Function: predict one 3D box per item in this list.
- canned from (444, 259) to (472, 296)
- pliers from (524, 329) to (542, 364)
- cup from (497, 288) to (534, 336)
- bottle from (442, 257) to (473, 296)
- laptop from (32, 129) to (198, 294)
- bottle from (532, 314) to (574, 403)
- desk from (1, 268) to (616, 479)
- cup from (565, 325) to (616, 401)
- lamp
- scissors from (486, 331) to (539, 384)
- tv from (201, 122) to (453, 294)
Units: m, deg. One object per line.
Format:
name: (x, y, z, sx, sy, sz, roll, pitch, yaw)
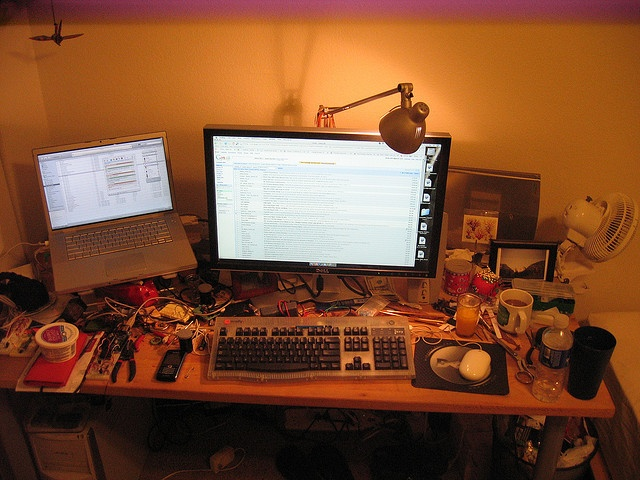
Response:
canned: (0.495, 0.142, 1.975, 0.127, 0.125, 0.121, 4, 10, 9)
pliers: (0.702, 0.355, 1.720, 0.064, 0.016, 0.117, -9, 37, 15)
cup: (0.656, 0.245, 1.768, 0.110, 0.111, 0.163, 1, 28, 9)
bottle: (0.497, 0.140, 1.909, 0.113, 0.112, 0.106, -3, 28, -5)
laptop: (-0.764, -0.035, 2.009, 0.650, 0.387, 0.552, -13, 55, -15)
bottle: (0.712, 0.377, 1.603, 0.110, 0.303, 0.104, 0, 31, 0)
desk: (0.023, 0.723, 2.076, 2.273, 0.958, 0.495, 3, 61, -2)
cup: (0.817, 0.376, 1.597, 0.114, 0.190, 0.150, 11, 19, 29)
lamp: (0.172, -0.394, 1.675, 0.211, 0.215, 0.434, -6, 18, -24)
scissors: (0.612, 0.373, 1.656, 0.061, 0.014, 0.124, -22, 39, -16)
tv: (0.025, -0.108, 1.735, 0.726, 0.422, 0.071, 1, 26, 1)
